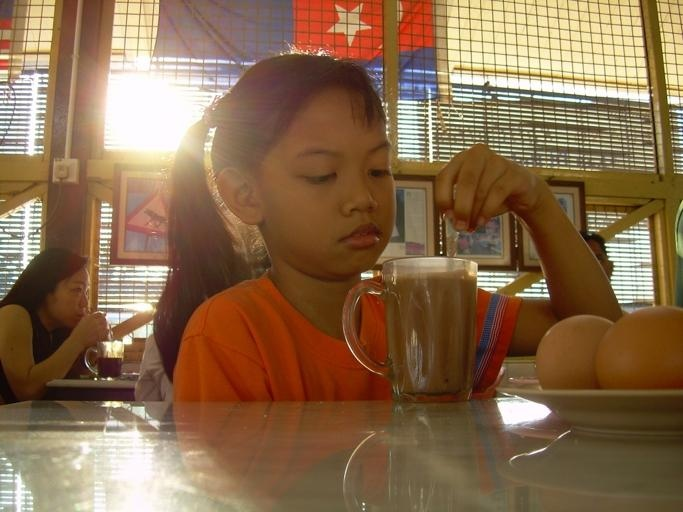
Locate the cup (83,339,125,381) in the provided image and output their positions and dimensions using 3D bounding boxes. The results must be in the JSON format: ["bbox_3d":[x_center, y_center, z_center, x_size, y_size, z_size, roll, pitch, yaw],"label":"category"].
[{"bbox_3d":[-0.959,0.421,2.304,0.143,0.157,0.095,2,3,-18],"label":"cup"}]

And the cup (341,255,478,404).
[{"bbox_3d":[0.076,0.081,0.657,0.154,0.171,0.105,-4,6,-19],"label":"cup"}]

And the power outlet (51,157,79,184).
[{"bbox_3d":[-1.263,-0.392,2.617,0.102,0.111,0.056,0,-7,-4],"label":"power outlet"}]
